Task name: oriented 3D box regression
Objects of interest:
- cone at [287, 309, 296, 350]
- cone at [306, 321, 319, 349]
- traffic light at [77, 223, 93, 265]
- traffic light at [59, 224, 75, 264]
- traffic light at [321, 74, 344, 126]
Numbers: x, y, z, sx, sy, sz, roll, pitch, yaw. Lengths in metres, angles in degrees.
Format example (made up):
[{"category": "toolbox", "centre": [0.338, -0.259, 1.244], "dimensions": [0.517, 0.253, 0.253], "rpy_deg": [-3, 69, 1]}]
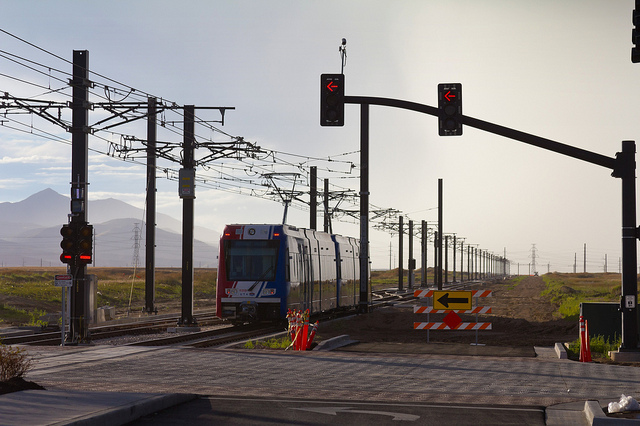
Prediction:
[{"category": "cone", "centre": [-0.974, 4.173, 25.517], "dimensions": [0.194, 1.372, 0.298], "rpy_deg": [-8, 0, 39]}, {"category": "cone", "centre": [-0.293, 4.242, 25.181], "dimensions": [0.212, 1.054, 0.177], "rpy_deg": [18, -5, 10]}, {"category": "traffic light", "centre": [-8.455, 1.091, 25.727], "dimensions": [0.513, 1.474, 0.365], "rpy_deg": [0, -6, -5]}, {"category": "traffic light", "centre": [-9.023, 1.112, 25.625], "dimensions": [0.474, 1.376, 0.779], "rpy_deg": [2, -7, -20]}, {"category": "traffic light", "centre": [0.413, -3.820, 24.118], "dimensions": [0.715, 1.723, 0.211], "rpy_deg": [1, -6, -13]}]
